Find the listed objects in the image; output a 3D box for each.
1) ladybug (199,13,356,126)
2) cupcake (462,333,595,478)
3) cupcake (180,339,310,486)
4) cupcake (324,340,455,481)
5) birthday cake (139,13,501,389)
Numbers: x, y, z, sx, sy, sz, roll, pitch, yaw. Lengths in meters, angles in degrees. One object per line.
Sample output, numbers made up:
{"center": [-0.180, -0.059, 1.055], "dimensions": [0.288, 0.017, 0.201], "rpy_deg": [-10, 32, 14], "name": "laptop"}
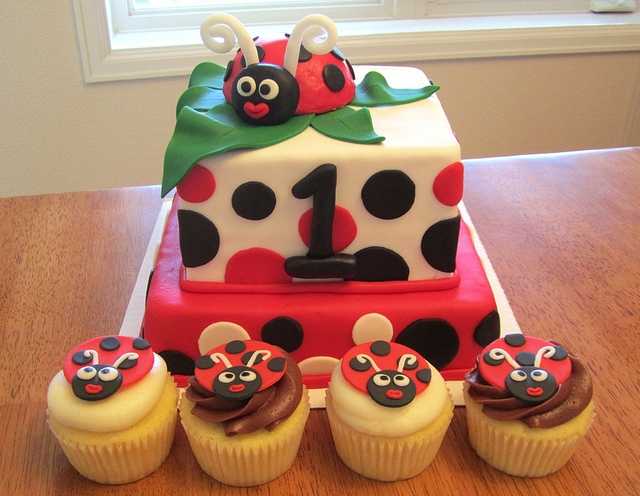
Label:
{"center": [-0.080, -0.360, 0.983], "dimensions": [0.237, 0.170, 0.245], "rpy_deg": [3, 32, 6], "name": "ladybug"}
{"center": [0.358, 0.261, 0.945], "dimensions": [0.208, 0.196, 0.221], "rpy_deg": [11, 36, 26], "name": "cupcake"}
{"center": [-0.120, 0.270, 0.911], "dimensions": [0.207, 0.180, 0.161], "rpy_deg": [-17, 36, -19], "name": "cupcake"}
{"center": [0.107, 0.256, 0.950], "dimensions": [0.204, 0.158, 0.206], "rpy_deg": [-2, 41, -4], "name": "cupcake"}
{"center": [0.009, -0.182, 1.336], "dimensions": [0.857, 0.679, 0.627], "rpy_deg": [1, 27, 0], "name": "birthday cake"}
